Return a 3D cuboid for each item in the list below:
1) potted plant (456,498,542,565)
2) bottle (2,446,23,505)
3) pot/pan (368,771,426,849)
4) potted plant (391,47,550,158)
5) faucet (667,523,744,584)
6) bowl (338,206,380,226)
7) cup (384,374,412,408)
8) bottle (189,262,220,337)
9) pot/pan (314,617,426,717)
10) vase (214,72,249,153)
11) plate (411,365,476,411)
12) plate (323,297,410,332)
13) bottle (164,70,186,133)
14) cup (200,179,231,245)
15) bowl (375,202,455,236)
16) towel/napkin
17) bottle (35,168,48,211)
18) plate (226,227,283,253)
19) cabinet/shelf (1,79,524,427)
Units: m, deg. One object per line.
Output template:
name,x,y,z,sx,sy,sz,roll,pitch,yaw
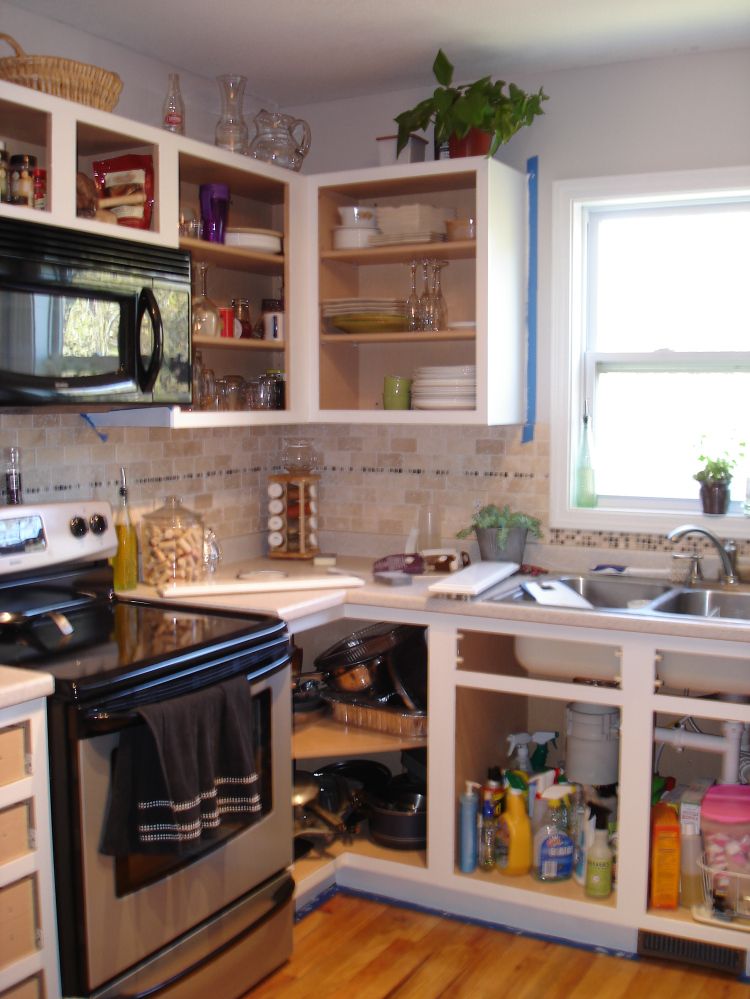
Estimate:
potted plant,0.408,0.104,2.760,0.216,0.143,0.215,0,-3,18
bottle,-0.889,-0.059,2.035,0.046,0.139,0.218,-2,5,-21
pot/pan,0.068,0.955,2.544,0.170,0.078,0.209,0,0,0
potted plant,0.280,-1.164,2.592,0.377,0.227,0.372,7,23,26
faucet,0.968,0.157,2.443,0.198,0.181,0.334,1,5,20
bowl,-0.067,-0.936,2.752,0.092,0.039,0.078,-4,6,-45
cup,0.075,-0.364,2.759,0.098,0.107,0.098,2,7,0
bottle,-0.489,-0.572,2.400,0.062,0.224,0.122,0,4,4
pot/pan,-0.021,0.521,2.545,0.301,0.107,0.243,-14,1,44
vase,-0.428,-1.140,2.493,0.095,0.234,0.170,-1,4,-9
plate,0.225,-0.347,2.656,0.160,0.095,0.161,4,9,35
plate,-0.026,-0.606,2.750,0.166,0.059,0.166,2,8,24
bottle,-0.552,-1.080,2.278,0.053,0.212,0.179,-2,5,-14
cup,-0.479,-0.847,2.477,0.078,0.183,0.116,-2,4,-13
bowl,0.102,-0.882,2.678,0.138,0.077,0.173,-4,11,-26
towel/napkin,-0.341,0.516,1.627,0.113,0.270,0.439,-2,-7,25
bottle,-0.729,-0.680,1.822,0.030,0.106,0.069,-2,5,-21
plate,-0.370,-0.806,2.585,0.185,0.065,0.053,-4,6,-39
cabinet/shelf,-0.169,-0.721,2.700,1.080,0.645,1.078,3,8,24
